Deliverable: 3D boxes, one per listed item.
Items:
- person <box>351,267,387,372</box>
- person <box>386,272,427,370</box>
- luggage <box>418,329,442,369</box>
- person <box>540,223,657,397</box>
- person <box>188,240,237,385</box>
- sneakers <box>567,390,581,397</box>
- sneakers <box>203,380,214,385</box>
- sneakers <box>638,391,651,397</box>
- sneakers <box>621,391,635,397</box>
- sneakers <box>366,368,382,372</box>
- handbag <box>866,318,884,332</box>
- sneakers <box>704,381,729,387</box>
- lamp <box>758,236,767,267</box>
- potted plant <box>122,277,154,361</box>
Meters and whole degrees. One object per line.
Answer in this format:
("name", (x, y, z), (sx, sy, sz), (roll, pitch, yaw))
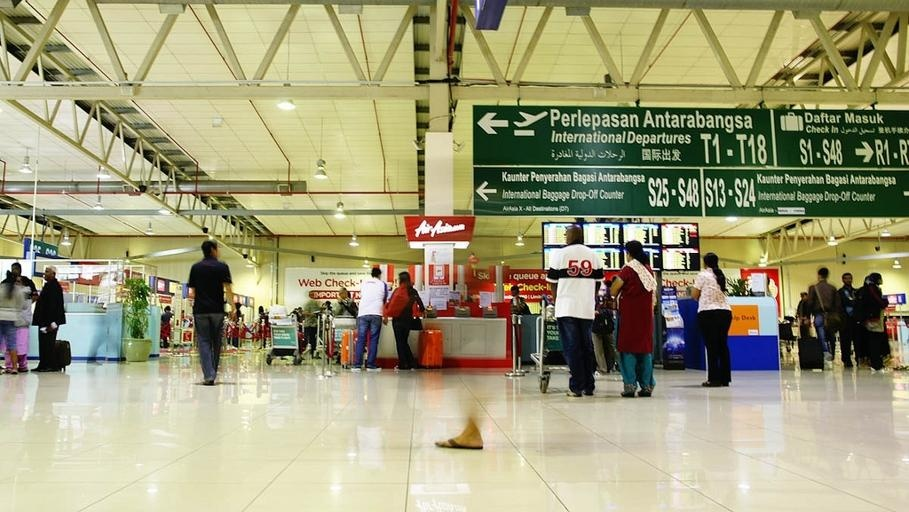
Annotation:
("person", (-1.709, 1.209, 13.613), (0.678, 2.080, 0.877), (0, -10, -8))
("person", (-1.004, 1.265, 13.530), (0.729, 1.947, 0.908), (-4, -10, 10))
("luggage", (-0.595, 1.886, 14.036), (0.660, 0.812, 0.563), (-3, -17, 16))
("person", (1.767, 0.796, 10.043), (0.795, 2.501, 0.532), (0, -10, -11))
("person", (-3.991, 0.861, 11.139), (0.679, 2.448, 0.895), (2, -10, -19))
("sneakers", (1.744, 2.002, 9.972), (0.220, 0.091, 0.176), (-3, -8, 9))
("sneakers", (-3.930, 2.019, 10.887), (0.177, 0.079, 0.263), (2, -8, -20))
("sneakers", (2.793, 2.008, 9.952), (0.095, 0.093, 0.154), (3, 2, 0))
("sneakers", (2.522, 2.008, 9.909), (0.152, 0.078, 0.074), (4, -11, 8))
("sneakers", (-1.586, 2.221, 13.286), (0.291, 0.091, 0.097), (-1, -10, 6))
("handbag", (8.149, 1.336, 13.167), (0.347, 0.258, 0.124), (-2, -10, 2))
("sneakers", (4.197, 2.026, 10.868), (0.406, 0.117, 0.128), (2, -13, 9))
("lamp", (13.870, -0.219, 30.672), (0.467, 1.333, 1.467), (-6, -10, 23))
("potted plant", (-7.410, 1.439, 15.860), (0.609, 1.999, 0.912), (3, -11, -25))
